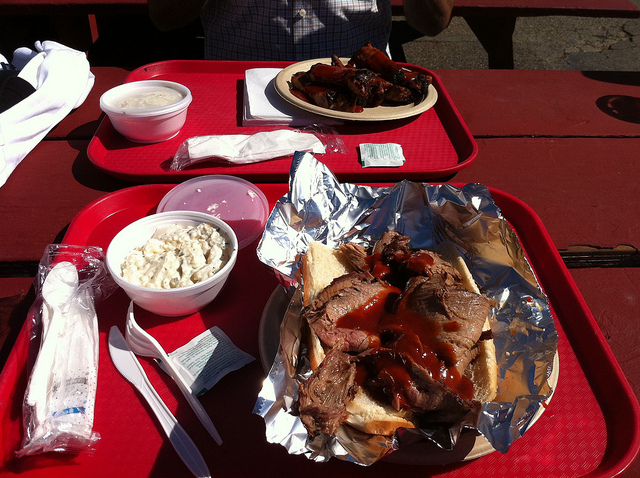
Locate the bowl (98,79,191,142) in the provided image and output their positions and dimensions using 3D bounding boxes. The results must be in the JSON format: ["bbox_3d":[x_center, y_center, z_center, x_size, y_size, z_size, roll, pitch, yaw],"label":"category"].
[{"bbox_3d":[-1.114,-0.840,3.428,0.482,0.232,0.508,0,45,0],"label":"bowl"}]

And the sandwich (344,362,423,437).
[{"bbox_3d":[0.293,0.720,2.364,0.424,0.132,0.346,8,45,-22],"label":"sandwich"}]

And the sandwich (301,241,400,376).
[{"bbox_3d":[0.118,0.316,2.412,0.511,0.152,0.584,-9,56,-35],"label":"sandwich"}]

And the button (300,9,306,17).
[{"bbox_3d":[-0.145,-1.885,4.268,0.050,0.044,0.043,-8,56,-6],"label":"button"}]

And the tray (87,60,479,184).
[{"bbox_3d":[-0.233,-0.884,3.578,2.475,0.362,1.466,-1,57,-2],"label":"tray"}]
